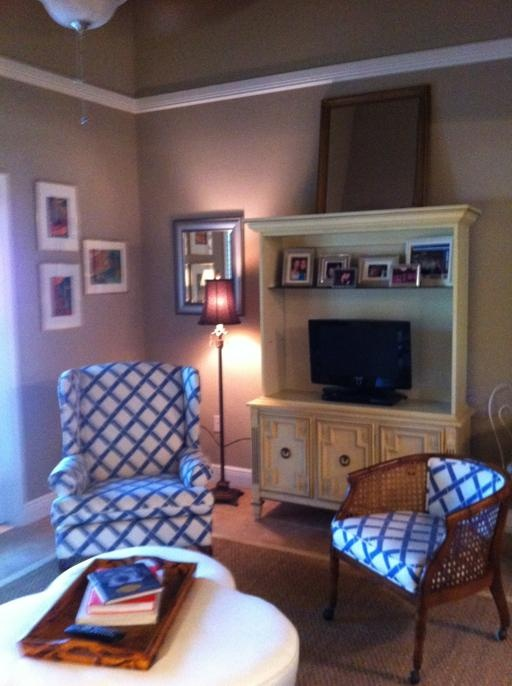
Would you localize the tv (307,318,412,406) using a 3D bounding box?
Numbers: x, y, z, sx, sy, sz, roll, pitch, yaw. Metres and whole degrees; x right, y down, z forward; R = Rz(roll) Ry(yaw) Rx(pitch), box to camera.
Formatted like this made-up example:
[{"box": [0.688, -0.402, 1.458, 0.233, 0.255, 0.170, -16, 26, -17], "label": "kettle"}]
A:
[{"box": [0.576, 0.094, 3.005, 0.455, 0.353, 0.147, 3, 7, 30], "label": "tv"}]

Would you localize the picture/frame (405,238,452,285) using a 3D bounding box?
[{"box": [0.867, -0.401, 2.795, 0.243, 0.240, 0.020, 4, 5, 44], "label": "picture/frame"}]

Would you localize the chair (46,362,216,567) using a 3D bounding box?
[{"box": [-0.569, 0.509, 2.601, 0.663, 0.783, 0.664, -2, 4, -12], "label": "chair"}]

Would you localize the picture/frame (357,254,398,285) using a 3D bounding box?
[{"box": [0.651, -0.385, 2.980, 0.189, 0.159, 0.015, -1, -7, 35], "label": "picture/frame"}]

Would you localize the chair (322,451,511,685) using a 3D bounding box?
[{"box": [0.589, 0.702, 2.169, 0.702, 0.728, 0.638, -1, 2, -32], "label": "chair"}]

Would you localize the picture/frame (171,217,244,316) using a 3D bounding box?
[{"box": [-0.298, -0.513, 3.648, 0.685, 0.788, 0.035, 2, 5, 35], "label": "picture/frame"}]

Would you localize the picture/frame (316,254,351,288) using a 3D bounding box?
[{"box": [0.434, -0.396, 3.088, 0.202, 0.224, 0.027, -1, -9, 26], "label": "picture/frame"}]

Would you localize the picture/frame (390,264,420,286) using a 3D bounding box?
[{"box": [0.758, -0.343, 2.841, 0.120, 0.084, 0.018, 3, -1, 43], "label": "picture/frame"}]

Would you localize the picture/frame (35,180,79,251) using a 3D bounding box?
[{"box": [-1.177, -0.745, 3.330, 0.039, 0.402, 0.320, 0, 4, 22], "label": "picture/frame"}]

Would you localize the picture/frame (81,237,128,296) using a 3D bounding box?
[{"box": [-1.010, -0.506, 3.695, 0.021, 0.335, 0.416, 3, 7, 26], "label": "picture/frame"}]

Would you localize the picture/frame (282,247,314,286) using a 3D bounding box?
[{"box": [0.248, -0.437, 3.228, 0.232, 0.289, 0.030, 0, -5, 26], "label": "picture/frame"}]
